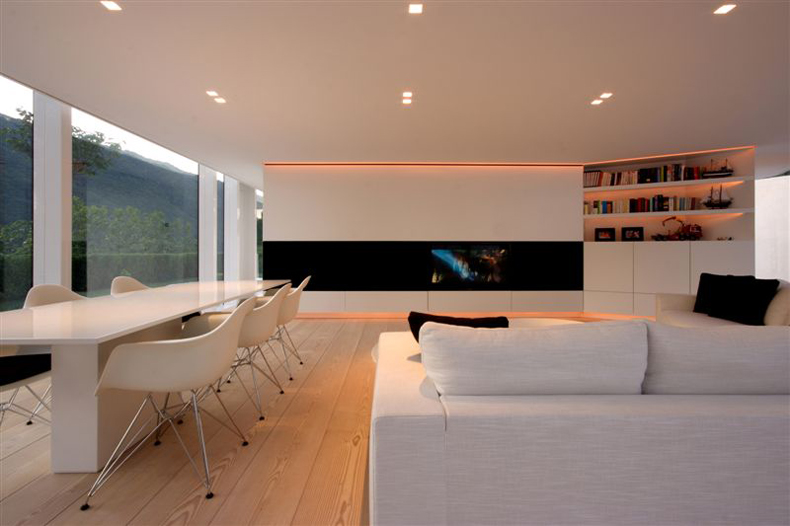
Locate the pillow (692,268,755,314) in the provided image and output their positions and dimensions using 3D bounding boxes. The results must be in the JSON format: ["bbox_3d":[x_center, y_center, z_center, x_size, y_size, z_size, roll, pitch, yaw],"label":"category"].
[{"bbox_3d":[3.635,0.332,6.051,0.159,0.508,0.505,21,-5,-24],"label":"pillow"}]
